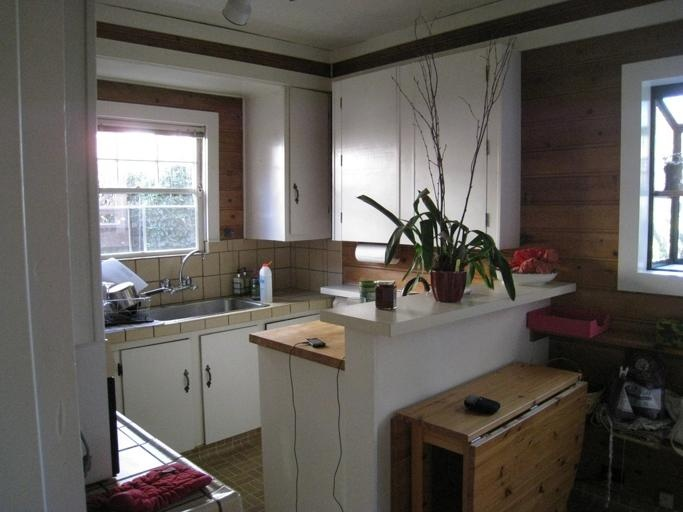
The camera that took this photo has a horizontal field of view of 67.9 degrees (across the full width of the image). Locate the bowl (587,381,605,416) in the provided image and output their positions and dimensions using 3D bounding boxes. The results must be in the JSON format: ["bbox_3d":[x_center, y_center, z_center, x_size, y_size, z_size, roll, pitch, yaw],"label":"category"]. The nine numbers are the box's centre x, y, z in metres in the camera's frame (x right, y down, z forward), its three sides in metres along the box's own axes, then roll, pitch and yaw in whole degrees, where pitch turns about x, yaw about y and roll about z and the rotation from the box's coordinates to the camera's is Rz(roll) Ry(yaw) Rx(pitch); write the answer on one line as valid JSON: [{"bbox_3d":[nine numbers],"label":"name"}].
[{"bbox_3d":[1.402,0.785,2.795,0.076,0.127,0.202,5,11,27],"label":"bowl"}]

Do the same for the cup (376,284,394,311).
[{"bbox_3d":[0.187,0.176,2.161,0.098,0.101,0.076,0,1,21],"label":"cup"}]

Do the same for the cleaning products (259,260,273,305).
[{"bbox_3d":[-0.600,0.215,3.982,0.100,0.286,0.280,-2,10,-10],"label":"cleaning products"}]

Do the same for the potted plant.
[{"bbox_3d":[0.423,-0.020,2.344,0.719,0.520,0.489,5,16,27],"label":"potted plant"}]

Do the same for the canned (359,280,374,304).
[{"bbox_3d":[0.163,0.239,3.277,0.110,0.128,0.114,2,5,16],"label":"canned"}]

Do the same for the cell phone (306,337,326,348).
[{"bbox_3d":[-0.125,0.411,2.414,0.075,0.018,0.152,-5,11,-25],"label":"cell phone"}]

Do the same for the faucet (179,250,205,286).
[{"bbox_3d":[-1.187,0.083,4.010,0.154,0.248,0.299,1,10,8],"label":"faucet"}]

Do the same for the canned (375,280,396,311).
[{"bbox_3d":[0.188,0.173,2.163,0.085,0.118,0.117,0,-1,-9],"label":"canned"}]

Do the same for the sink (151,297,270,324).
[{"bbox_3d":[-1.072,0.408,3.954,0.804,0.132,0.345,-4,11,-20],"label":"sink"}]
